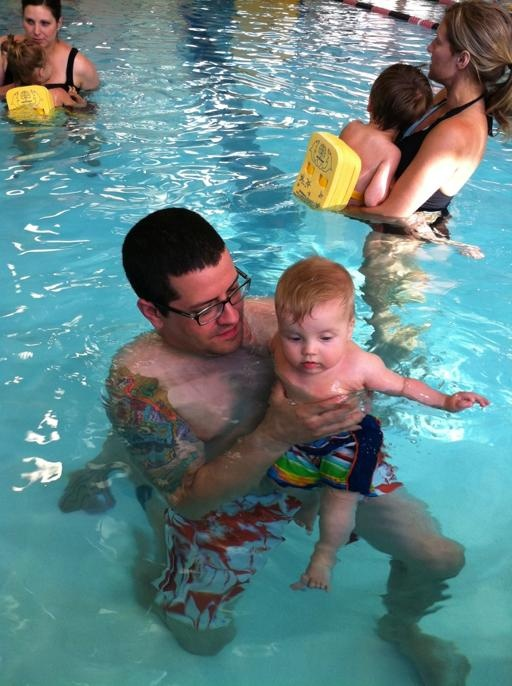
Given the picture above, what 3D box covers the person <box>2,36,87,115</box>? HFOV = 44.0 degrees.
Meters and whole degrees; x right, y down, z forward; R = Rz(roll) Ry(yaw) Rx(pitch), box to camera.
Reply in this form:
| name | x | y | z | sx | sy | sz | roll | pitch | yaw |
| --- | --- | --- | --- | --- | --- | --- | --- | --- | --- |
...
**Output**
| name | x | y | z | sx | sy | sz | roll | pitch | yaw |
| --- | --- | --- | --- | --- | --- | --- | --- | --- | --- |
| person | -2.040 | -2.544 | 5.980 | 1.035 | 0.499 | 0.613 | 24 | 39 | 18 |
